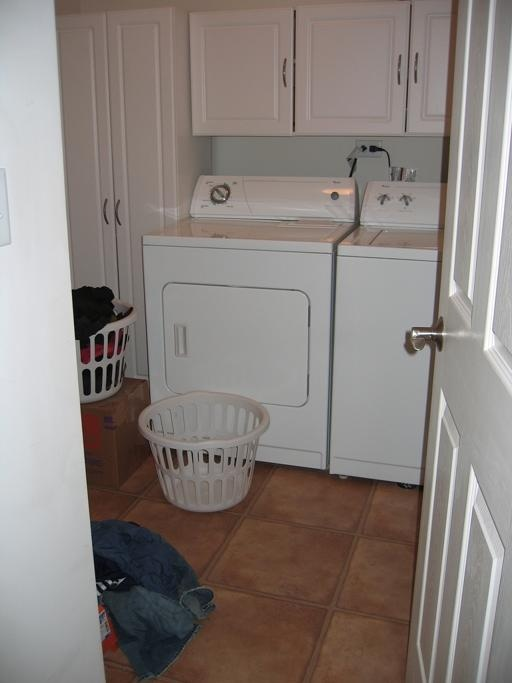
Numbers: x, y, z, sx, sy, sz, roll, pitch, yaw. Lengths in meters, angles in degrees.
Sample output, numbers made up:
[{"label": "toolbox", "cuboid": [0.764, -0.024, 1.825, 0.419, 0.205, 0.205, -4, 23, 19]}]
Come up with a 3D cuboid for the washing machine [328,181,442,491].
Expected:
[{"label": "washing machine", "cuboid": [0.564, -0.001, 2.248, 0.392, 1.138, 0.555, 5, 14, 20]}]

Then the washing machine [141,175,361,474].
[{"label": "washing machine", "cuboid": [-0.006, -0.152, 2.470, 0.871, 1.245, 0.652, 4, 13, 15]}]

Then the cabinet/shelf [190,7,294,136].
[{"label": "cabinet/shelf", "cuboid": [-0.033, -1.190, 2.592, 0.595, 0.701, 0.440, 2, 9, 12]}]
